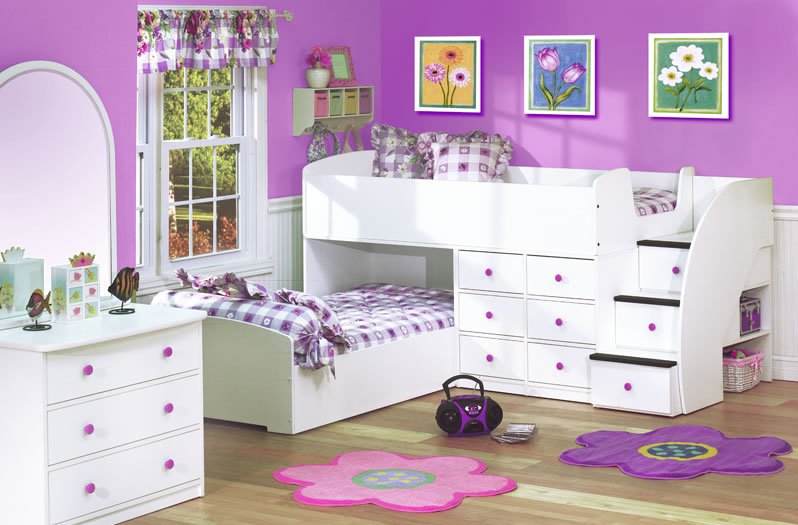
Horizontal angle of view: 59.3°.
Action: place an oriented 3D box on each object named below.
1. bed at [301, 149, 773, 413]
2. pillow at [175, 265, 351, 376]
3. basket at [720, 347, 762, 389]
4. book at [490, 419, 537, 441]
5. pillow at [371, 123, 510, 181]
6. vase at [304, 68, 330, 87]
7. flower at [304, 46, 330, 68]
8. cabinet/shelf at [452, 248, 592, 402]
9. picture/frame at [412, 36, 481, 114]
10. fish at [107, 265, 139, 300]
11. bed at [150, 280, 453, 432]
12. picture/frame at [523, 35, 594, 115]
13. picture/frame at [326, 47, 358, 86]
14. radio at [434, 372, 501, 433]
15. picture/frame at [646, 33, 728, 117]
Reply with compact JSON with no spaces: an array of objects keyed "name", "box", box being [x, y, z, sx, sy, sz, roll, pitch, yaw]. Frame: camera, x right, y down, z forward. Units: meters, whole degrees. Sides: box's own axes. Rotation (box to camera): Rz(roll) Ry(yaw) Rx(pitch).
[{"name":"bed","box":[1.014,0.092,5.398,2.979,1.510,1.505,2,3,41]},{"name":"pillow","box":[-0.819,0.346,4.204,0.980,0.628,0.373,1,9,11]},{"name":"basket","box":[2.375,0.733,4.880,0.252,0.196,0.332,-2,-2,30]},{"name":"book","box":[0.659,0.971,4.037,0.265,0.048,0.204,1,8,6]},{"name":"pillow","box":[0.297,-0.879,5.565,0.867,0.547,0.242,3,-13,15]},{"name":"vase","box":[-0.661,-1.484,5.687,0.161,0.135,0.167,2,4,42]},{"name":"flower","box":[-0.663,-1.675,5.685,0.182,0.179,0.147,-2,8,-9]},{"name":"cabinet/shelf","box":[0.871,0.411,4.725,0.957,0.875,0.388,3,10,29]},{"name":"picture/frame","box":[0.438,-1.651,6.086,0.723,0.750,0.052,2,5,30]},{"name":"fish","box":[-1.305,0.093,3.307,0.041,0.153,0.160,-2,-5,28]},{"name":"bed","box":[-0.370,0.608,4.556,0.989,0.529,1.384,6,10,37]},{"name":"picture/frame","box":[1.314,-1.541,5.668,0.694,0.718,0.031,2,5,37]},{"name":"picture/frame","box":[-0.504,-1.678,5.921,0.026,0.325,0.330,-26,27,-38]},{"name":"radio","box":[0.421,0.865,4.263,0.341,0.298,0.184,-3,4,-2]},{"name":"picture/frame","box":[2.173,-1.416,5.222,0.668,0.694,0.046,3,9,35]}]
